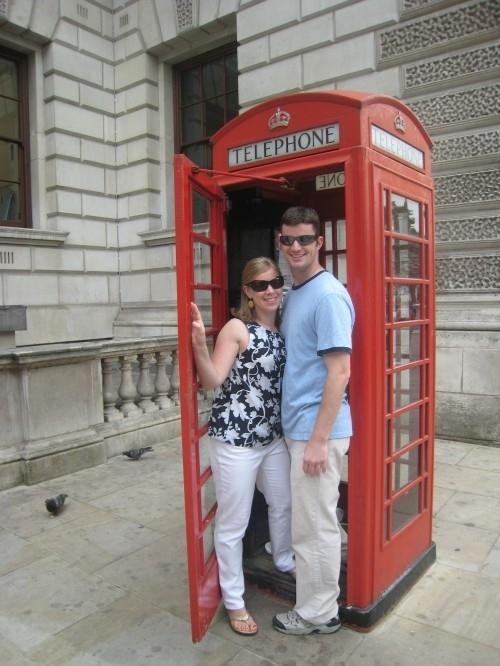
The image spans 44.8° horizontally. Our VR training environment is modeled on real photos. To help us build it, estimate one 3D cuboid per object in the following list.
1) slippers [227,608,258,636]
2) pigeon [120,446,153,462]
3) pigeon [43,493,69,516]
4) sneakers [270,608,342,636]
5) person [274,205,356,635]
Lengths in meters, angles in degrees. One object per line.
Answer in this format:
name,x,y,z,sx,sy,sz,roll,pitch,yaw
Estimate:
slippers,-0.030,1.363,2.890,0.071,0.072,0.165,2,-10,-17
pigeon,-1.087,1.130,5.839,0.278,0.126,0.387,-2,5,-10
pigeon,-1.373,1.216,4.387,0.077,0.142,0.249,0,9,9
sneakers,0.270,1.343,2.925,0.325,0.164,0.118,5,-6,-1
person,0.304,0.417,2.805,0.315,1.979,0.468,-5,6,-37
